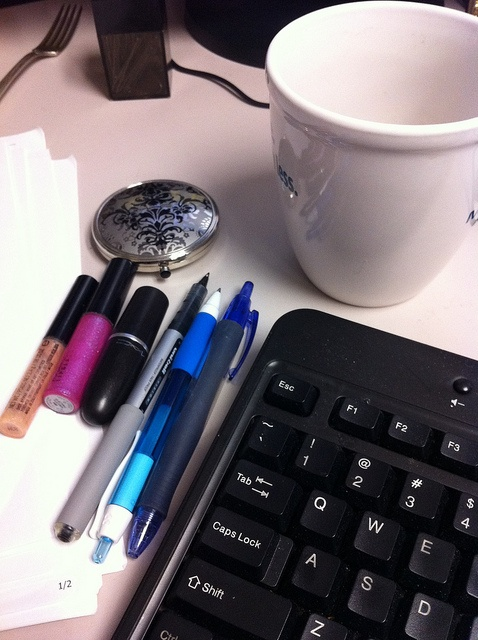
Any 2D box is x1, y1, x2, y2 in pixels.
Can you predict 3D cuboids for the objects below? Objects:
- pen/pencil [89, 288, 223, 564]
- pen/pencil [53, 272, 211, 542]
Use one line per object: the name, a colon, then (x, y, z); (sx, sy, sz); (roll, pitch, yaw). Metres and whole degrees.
pen/pencil: (-0.024, 0.011, 0.318); (0.023, 0.020, 0.237); (35, 56, -25)
pen/pencil: (-0.054, 0.046, 0.276); (0.011, 0.011, 0.148); (19, 54, 6)
